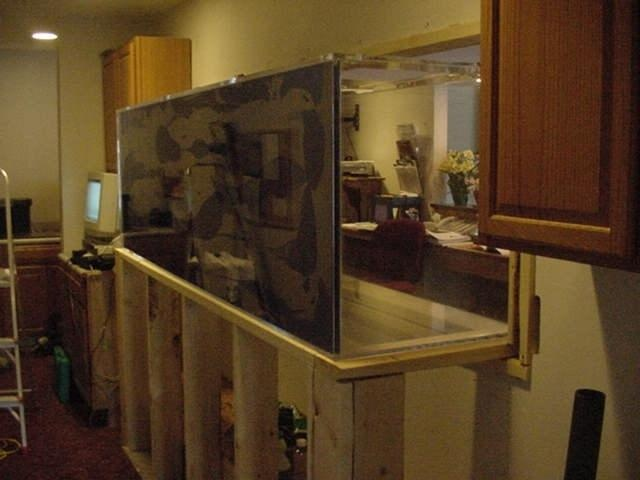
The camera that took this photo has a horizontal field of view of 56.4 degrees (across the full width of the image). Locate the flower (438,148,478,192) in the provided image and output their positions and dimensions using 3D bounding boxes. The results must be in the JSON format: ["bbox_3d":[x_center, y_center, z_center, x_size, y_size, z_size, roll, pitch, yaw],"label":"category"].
[{"bbox_3d":[0.377,-0.193,1.652,0.100,0.122,0.111,-3,5,-41],"label":"flower"}]

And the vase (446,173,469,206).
[{"bbox_3d":[0.392,-0.143,1.620,0.062,0.099,0.061,5,-6,-31],"label":"vase"}]

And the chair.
[{"bbox_3d":[0.118,0.064,1.655,0.295,0.194,0.174,1,-2,-15],"label":"chair"}]

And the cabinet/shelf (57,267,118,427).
[{"bbox_3d":[-1.544,0.734,3.985,0.372,1.144,1.044,1,2,-27],"label":"cabinet/shelf"}]

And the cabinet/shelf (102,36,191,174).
[{"bbox_3d":[-1.442,-1.122,4.894,0.500,1.107,1.298,-8,10,-27],"label":"cabinet/shelf"}]
